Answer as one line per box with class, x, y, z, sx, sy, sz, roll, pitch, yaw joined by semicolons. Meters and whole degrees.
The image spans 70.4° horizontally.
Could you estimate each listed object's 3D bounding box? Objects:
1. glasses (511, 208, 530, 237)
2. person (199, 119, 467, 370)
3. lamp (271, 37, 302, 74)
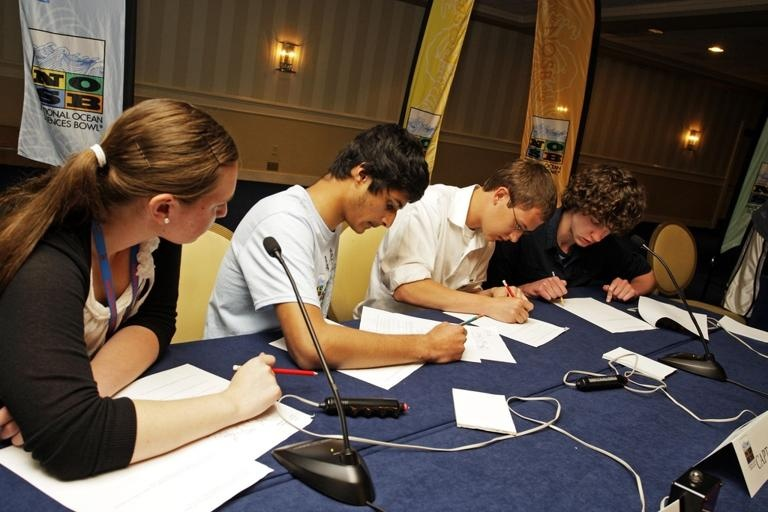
glasses;0.627;-0.164;2.573;0.105;0.033;0.111;14;44;-41
person;-0.035;-0.033;2.248;0.905;0.926;0.859;13;-3;18
lamp;-1.342;-2.722;7.487;0.338;0.376;0.326;5;18;-13
